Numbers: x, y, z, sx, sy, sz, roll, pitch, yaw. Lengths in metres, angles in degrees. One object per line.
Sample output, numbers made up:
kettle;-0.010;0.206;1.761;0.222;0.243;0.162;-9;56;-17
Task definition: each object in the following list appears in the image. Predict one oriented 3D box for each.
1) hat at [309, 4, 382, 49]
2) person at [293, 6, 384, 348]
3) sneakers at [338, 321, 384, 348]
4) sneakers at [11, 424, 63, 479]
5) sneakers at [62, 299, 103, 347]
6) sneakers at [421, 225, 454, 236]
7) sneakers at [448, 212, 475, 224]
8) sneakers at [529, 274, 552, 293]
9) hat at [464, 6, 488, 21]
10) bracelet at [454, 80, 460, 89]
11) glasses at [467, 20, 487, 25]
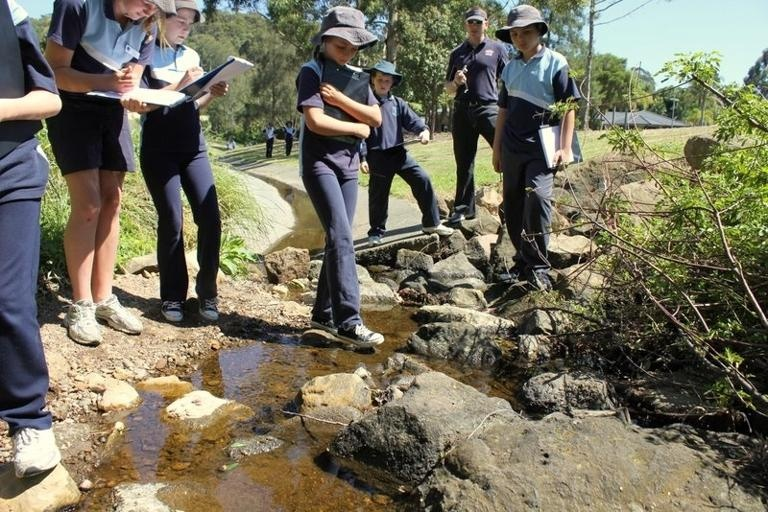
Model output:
hat;-0.365;-2.119;5.169;0.459;0.242;0.429;1;14;19
person;-0.413;-0.719;5.424;0.850;3.217;0.953;-2;17;-22
sneakers;-0.213;0.750;5.501;0.489;0.212;0.203;5;29;22
sneakers;-2.140;1.203;3.437;0.190;0.173;0.373;0;-2;-37
sneakers;-2.634;0.539;4.943;0.487;0.244;0.220;37;21;26
sneakers;0.816;-0.377;8.549;0.495;0.216;0.186;-1;20;4
sneakers;1.235;-0.620;8.948;0.467;0.201;0.169;-3;8;-23
sneakers;1.849;0.296;6.528;0.326;0.152;0.131;-2;5;-40
hat;1.383;-3.651;8.395;0.245;0.182;0.355;3;10;12
bracelet;1.088;-2.604;8.409;0.091;0.090;0.090;-41;49;-20
glasses;1.384;-3.502;8.300;0.273;0.064;0.131;1;17;-14
